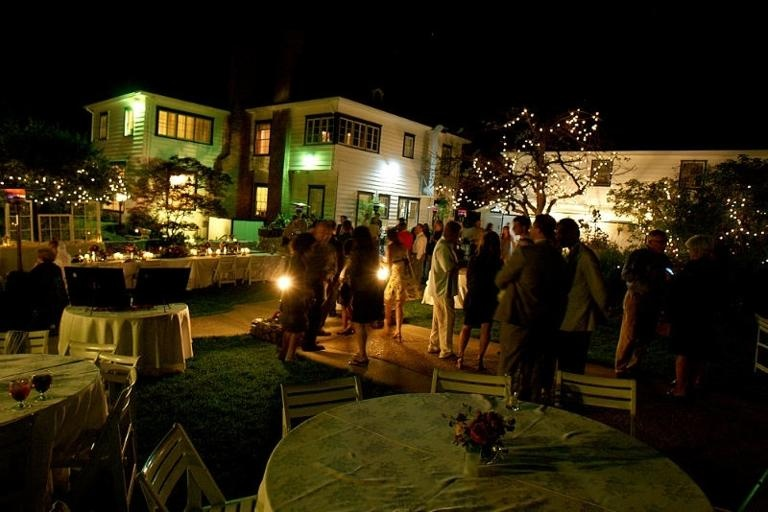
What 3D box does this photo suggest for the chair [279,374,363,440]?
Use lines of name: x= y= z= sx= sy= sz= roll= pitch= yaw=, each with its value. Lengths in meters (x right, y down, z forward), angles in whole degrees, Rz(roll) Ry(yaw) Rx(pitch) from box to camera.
chair: x=-0.821 y=1.954 z=7.134 sx=0.748 sy=1.215 sz=0.891 roll=-1 pitch=7 yaw=-22

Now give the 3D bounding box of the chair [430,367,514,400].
chair: x=1.130 y=1.484 z=7.207 sx=0.951 sy=0.552 sz=0.373 roll=3 pitch=-6 yaw=9

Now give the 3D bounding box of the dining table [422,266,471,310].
dining table: x=1.347 y=0.732 z=11.800 sx=0.936 sy=1.144 sz=1.069 roll=5 pitch=-3 yaw=-8

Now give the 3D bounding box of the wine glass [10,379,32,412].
wine glass: x=-4.370 y=1.645 z=6.662 sx=0.203 sy=0.329 sz=0.297 roll=0 pitch=4 yaw=-31

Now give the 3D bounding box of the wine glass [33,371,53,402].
wine glass: x=-4.230 y=1.607 z=6.828 sx=0.198 sy=0.316 sz=0.293 roll=1 pitch=4 yaw=-30

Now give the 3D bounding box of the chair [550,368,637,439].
chair: x=2.735 y=1.978 z=7.276 sx=1.181 sy=0.876 sz=0.430 roll=3 pitch=5 yaw=17

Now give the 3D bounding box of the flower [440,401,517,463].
flower: x=1.088 y=1.899 z=6.141 sx=0.672 sy=0.648 sz=0.452 roll=0 pitch=33 yaw=7
